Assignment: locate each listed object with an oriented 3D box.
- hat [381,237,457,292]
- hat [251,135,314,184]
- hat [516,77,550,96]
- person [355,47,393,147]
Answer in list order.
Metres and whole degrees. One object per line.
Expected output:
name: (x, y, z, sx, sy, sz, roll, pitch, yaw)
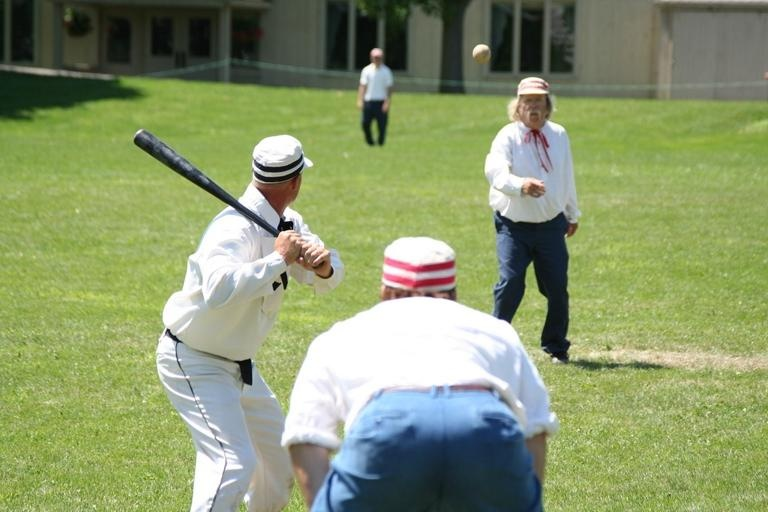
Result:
hat: (0.254, 0.052, 12.286, 0.484, 0.246, 0.442, 2, 1, -3)
hat: (-0.791, -0.778, 13.141, 0.331, 0.208, 0.449, 27, 35, 34)
hat: (1.353, -1.530, 15.154, 0.272, 0.156, 0.316, 1, 8, 4)
person: (-0.133, -2.174, 23.075, 0.461, 1.331, 0.685, 0, 8, -1)
